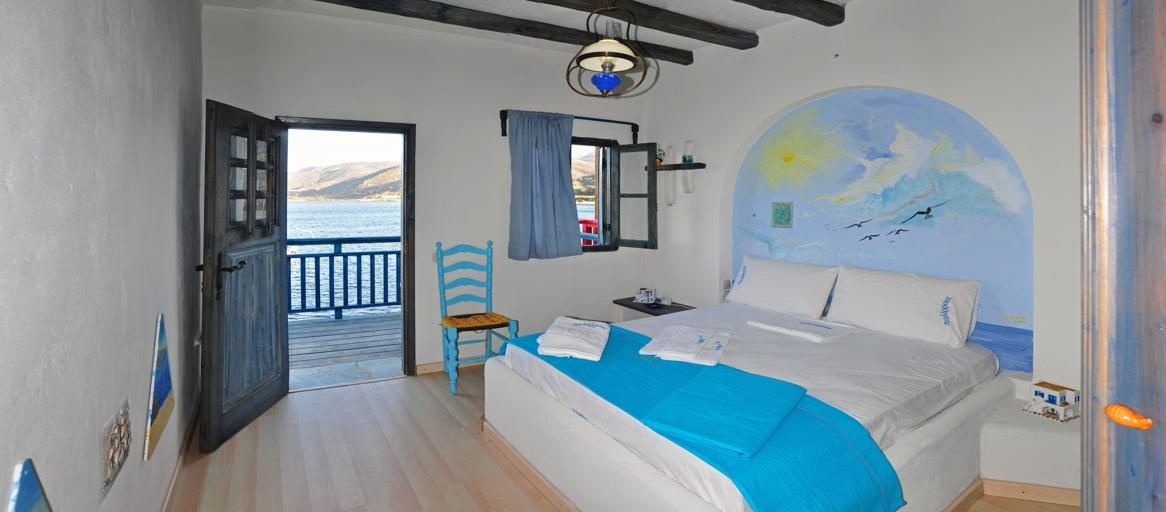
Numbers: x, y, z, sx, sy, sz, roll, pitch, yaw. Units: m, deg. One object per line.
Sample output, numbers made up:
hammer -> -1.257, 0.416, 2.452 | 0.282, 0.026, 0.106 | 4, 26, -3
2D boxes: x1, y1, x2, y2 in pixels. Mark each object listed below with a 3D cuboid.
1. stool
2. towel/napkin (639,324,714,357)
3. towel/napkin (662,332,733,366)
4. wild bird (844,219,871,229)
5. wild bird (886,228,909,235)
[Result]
stool -> 3.761, 1.683, 5.186 | 0.897, 0.448, 0.835 | 0, 4, 36
towel/napkin -> 0.835, 0.736, 5.325 | 0.360, 0.046, 0.350 | 1, 22, 36
towel/napkin -> 1.085, 0.802, 5.233 | 0.350, 0.035, 0.352 | 3, 24, 43
wild bird -> 2.797, -0.331, 6.132 | 0.219, 0.091, 0.035 | 4, 10, 23
wild bird -> 3.100, -0.241, 5.945 | 0.020, 0.056, 0.162 | 2, -6, -42
